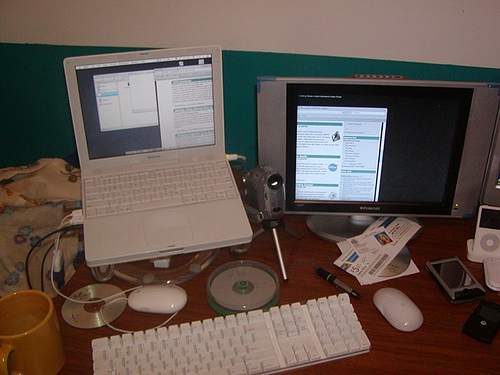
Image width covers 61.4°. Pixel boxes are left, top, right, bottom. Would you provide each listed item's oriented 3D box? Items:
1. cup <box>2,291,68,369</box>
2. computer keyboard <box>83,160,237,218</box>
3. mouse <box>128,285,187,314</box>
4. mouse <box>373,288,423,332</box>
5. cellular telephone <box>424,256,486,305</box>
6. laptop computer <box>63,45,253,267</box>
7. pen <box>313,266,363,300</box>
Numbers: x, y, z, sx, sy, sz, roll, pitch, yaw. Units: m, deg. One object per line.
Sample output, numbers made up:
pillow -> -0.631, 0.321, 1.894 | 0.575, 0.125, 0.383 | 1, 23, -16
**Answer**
cup -> -0.499, 0.339, 1.021 | 0.122, 0.127, 0.191 | 2, 35, -2
computer keyboard -> -0.286, -0.007, 1.295 | 0.455, 0.037, 0.169 | -8, 71, -4
mouse -> -0.259, 0.295, 1.149 | 0.160, 0.043, 0.099 | 2, 34, -3
mouse -> 0.373, 0.306, 1.149 | 0.142, 0.077, 0.167 | 3, 25, 4
cellular telephone -> 0.575, 0.246, 1.186 | 0.094, 0.036, 0.125 | -10, 40, -8
laptop computer -> -0.268, -0.112, 1.208 | 0.564, 0.344, 0.580 | 3, 48, -5
pen -> 0.246, 0.270, 1.195 | 0.157, 0.026, 0.027 | 33, 45, 24
